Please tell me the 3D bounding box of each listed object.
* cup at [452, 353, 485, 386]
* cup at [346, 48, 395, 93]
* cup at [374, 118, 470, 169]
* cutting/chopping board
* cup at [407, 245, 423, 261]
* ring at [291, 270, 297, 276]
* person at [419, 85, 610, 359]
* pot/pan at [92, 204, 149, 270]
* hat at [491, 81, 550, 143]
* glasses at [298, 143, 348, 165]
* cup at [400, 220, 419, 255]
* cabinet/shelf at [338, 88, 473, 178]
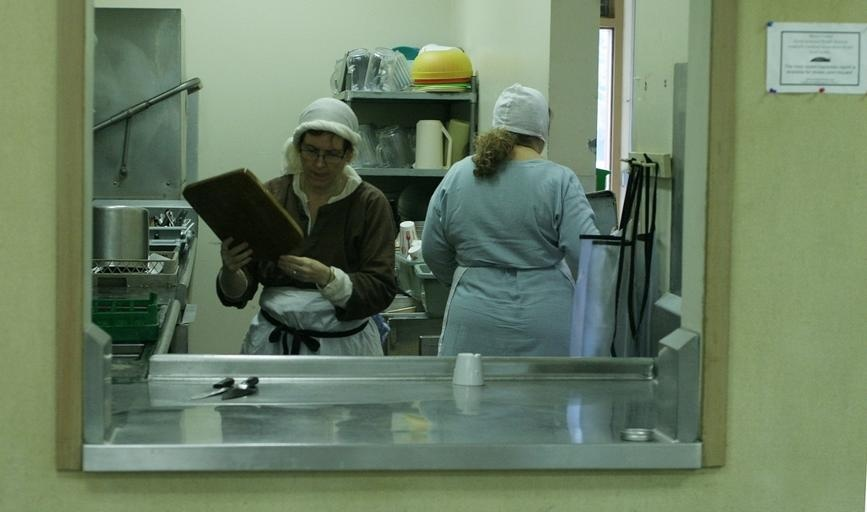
[{"bbox_3d":[0.093,0.287,2.405,0.083,0.075,0.086,-1,5,0],"label":"cup"},{"bbox_3d":[-0.317,-0.963,5.093,0.235,0.270,0.198,-1,-28,8],"label":"cup"},{"bbox_3d":[-0.046,-0.609,5.063,0.561,0.329,0.242,2,3,24],"label":"cup"},{"bbox_3d":[-0.546,-0.109,2.628,0.302,0.269,0.261,-4,6,-34],"label":"cutting/chopping board"},{"bbox_3d":[-0.063,-0.016,4.048,0.077,0.071,0.057,5,0,7],"label":"cup"},{"bbox_3d":[-0.415,0.049,2.799,0.016,0.004,0.016,-5,-33,-3],"label":"ring"},{"bbox_3d":[0.257,-0.127,3.263,0.623,0.936,0.338,0,5,8],"label":"person"},{"bbox_3d":[-0.987,-0.070,2.955,0.168,0.180,0.138,-3,6,-25],"label":"pot/pan"},{"bbox_3d":[0.316,-0.510,3.333,0.189,0.158,0.205,4,4,14],"label":"hat"},{"bbox_3d":[-0.345,-0.323,2.946,0.147,0.062,0.072,-2,5,-8],"label":"glasses"},{"bbox_3d":[-0.114,-0.087,4.225,0.109,0.135,0.131,0,-5,-2],"label":"cup"},{"bbox_3d":[-0.130,-0.676,5.316,0.746,0.668,0.398,0,-13,-11],"label":"cabinet/shelf"}]
